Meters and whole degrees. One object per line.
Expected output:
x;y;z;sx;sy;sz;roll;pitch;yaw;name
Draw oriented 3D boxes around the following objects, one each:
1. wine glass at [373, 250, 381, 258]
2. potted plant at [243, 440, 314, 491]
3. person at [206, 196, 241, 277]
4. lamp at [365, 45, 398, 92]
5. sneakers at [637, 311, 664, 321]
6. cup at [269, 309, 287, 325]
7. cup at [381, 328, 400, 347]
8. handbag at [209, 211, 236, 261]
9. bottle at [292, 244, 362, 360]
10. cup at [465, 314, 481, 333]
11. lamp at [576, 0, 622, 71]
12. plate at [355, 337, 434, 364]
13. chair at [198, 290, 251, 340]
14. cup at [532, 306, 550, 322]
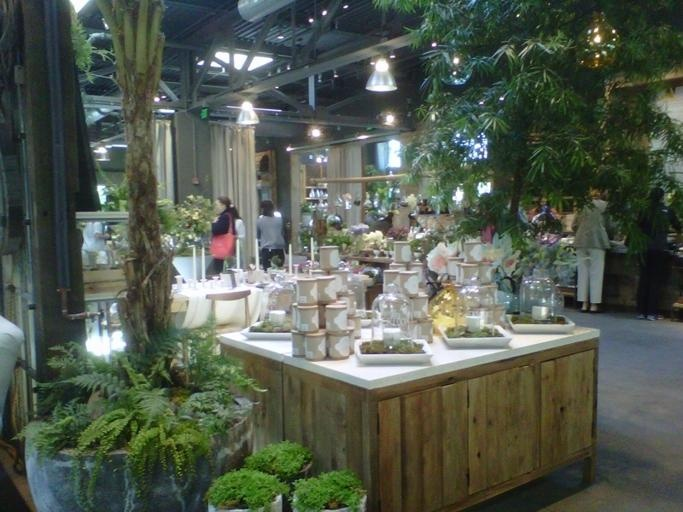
0.435;-0.026;7.680;0.075;0.075;0.077;3;-5;0;wine glass
-0.312;1.021;3.069;0.200;0.111;0.201;-15;7;-39;potted plant
-1.611;-0.199;8.072;0.348;1.155;0.345;5;24;-15;person
0.448;-2.171;7.193;0.316;0.435;0.383;-2;3;-9;lamp
4.026;0.788;7.947;0.299;0.131;0.112;-2;-2;16;sneakers
-0.405;0.375;3.754;0.080;0.057;0.082;1;-5;0;cup
0.252;0.421;3.204;0.086;0.092;0.088;2;9;0;cup
-1.594;-0.243;8.053;0.309;0.666;0.165;3;-23;-6;handbag
-0.096;0.242;3.323;0.358;0.581;0.430;-1;3;4;bottle
0.738;0.381;3.418;0.086;0.099;0.085;0;5;0;cup
1.433;-1.219;3.380;0.195;0.389;0.409;0;3;24;lamp
0.264;0.497;3.177;0.380;0.108;0.221;-1;3;1;plate
-1.172;0.532;6.289;0.416;0.400;0.322;-4;9;-11;chair
1.208;0.351;3.699;0.084;0.089;0.087;1;-7;0;cup
